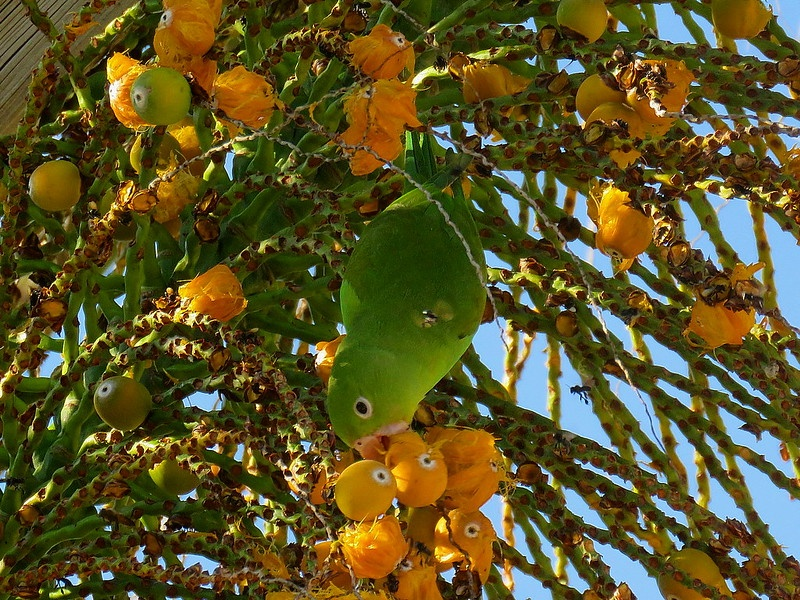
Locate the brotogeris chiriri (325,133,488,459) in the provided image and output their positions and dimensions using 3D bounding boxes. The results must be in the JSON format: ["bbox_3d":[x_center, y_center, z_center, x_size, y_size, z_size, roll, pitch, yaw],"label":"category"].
[{"bbox_3d":[0.008,0.024,1.423,0.178,0.352,0.126,13,-3,1],"label":"brotogeris chiriri"}]

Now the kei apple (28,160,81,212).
[{"bbox_3d":[-0.491,-0.165,1.650,0.068,0.082,0.065,10,-12,-22],"label":"kei apple"}]
